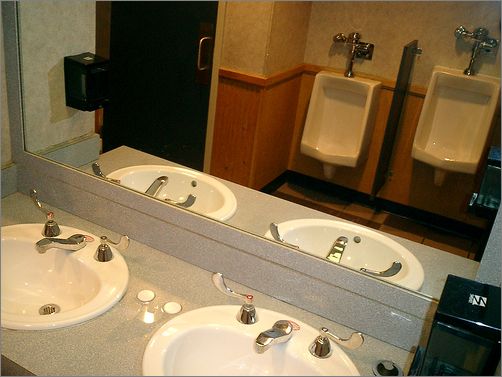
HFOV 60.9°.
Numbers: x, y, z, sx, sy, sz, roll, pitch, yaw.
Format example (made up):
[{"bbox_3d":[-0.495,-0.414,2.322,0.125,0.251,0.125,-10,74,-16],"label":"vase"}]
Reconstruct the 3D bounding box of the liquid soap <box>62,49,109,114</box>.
[{"bbox_3d":[-0.579,-0.390,1.593,0.113,0.205,0.194,13,30,20],"label":"liquid soap"}]

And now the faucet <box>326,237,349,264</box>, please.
[{"bbox_3d":[0.252,0.179,1.241,0.046,0.088,0.026,22,-8,17],"label":"faucet"}]

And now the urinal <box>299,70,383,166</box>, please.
[{"bbox_3d":[0.258,-0.176,1.243,0.147,0.276,0.165,18,28,20],"label":"urinal"}]

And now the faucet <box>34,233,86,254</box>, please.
[{"bbox_3d":[-0.597,0.172,1.342,0.109,0.027,0.066,-18,38,-39],"label":"faucet"}]
